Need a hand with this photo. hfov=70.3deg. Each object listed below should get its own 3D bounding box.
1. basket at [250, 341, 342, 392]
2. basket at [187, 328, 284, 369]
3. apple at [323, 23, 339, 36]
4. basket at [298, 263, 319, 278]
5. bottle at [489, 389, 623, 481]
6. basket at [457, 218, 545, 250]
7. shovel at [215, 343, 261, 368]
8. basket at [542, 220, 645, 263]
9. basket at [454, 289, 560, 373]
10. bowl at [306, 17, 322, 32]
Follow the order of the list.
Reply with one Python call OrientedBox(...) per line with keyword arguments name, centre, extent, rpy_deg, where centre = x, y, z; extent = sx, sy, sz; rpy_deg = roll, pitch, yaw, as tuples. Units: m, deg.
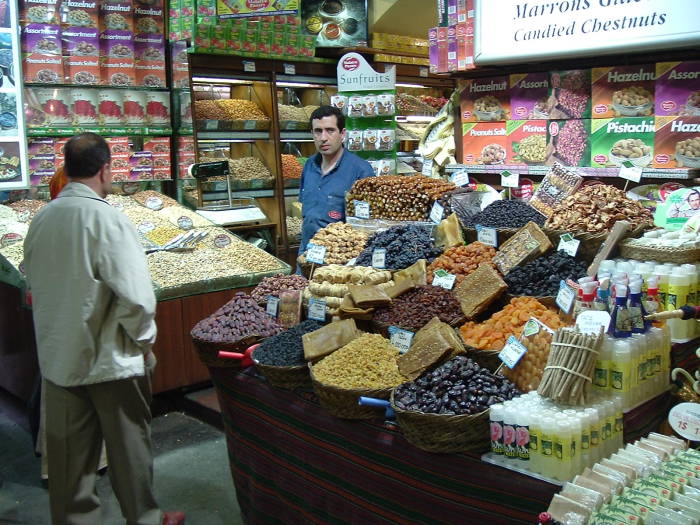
OrientedBox(name="basket", centre=(-0.236, 0.481, 2.315), extent=(0.374, 0.103, 0.340), rpy_deg=(-2, 4, -17))
OrientedBox(name="basket", centre=(-0.673, 0.466, 2.715), extent=(0.333, 0.073, 0.271), rpy_deg=(2, 1, 15))
OrientedBox(name="apple", centre=(-0.232, -3.071, 6.598), extent=(0.181, 0.204, 0.076), rpy_deg=(0, 18, -2))
OrientedBox(name="basket", centre=(-0.275, 0.054, 3.320), extent=(0.148, 0.083, 0.133), rpy_deg=(0, -1, 2))
OrientedBox(name="bottle", centre=(0.666, 0.553, 1.644), extent=(0.336, 0.123, 0.322), rpy_deg=(-5, 1, 0))
OrientedBox(name="basket", centre=(0.858, -0.166, 2.788), extent=(0.135, 0.179, 0.525), rpy_deg=(-15, 21, -40))
OrientedBox(name="shovel", centre=(-0.588, 0.485, 2.614), extent=(0.216, 0.093, 0.133), rpy_deg=(2, -2, -13))
OrientedBox(name="basket", centre=(1.232, -0.109, 2.501), extent=(0.336, 0.098, 0.288), rpy_deg=(-1, 9, 0))
OrientedBox(name="basket", centre=(0.670, 0.273, 2.154), extent=(0.388, 0.107, 0.348), rpy_deg=(-20, 9, -23))
OrientedBox(name="bowl", centre=(-0.479, -3.129, 6.573), extent=(0.226, 0.178, 0.047), rpy_deg=(-22, 5, 3))
